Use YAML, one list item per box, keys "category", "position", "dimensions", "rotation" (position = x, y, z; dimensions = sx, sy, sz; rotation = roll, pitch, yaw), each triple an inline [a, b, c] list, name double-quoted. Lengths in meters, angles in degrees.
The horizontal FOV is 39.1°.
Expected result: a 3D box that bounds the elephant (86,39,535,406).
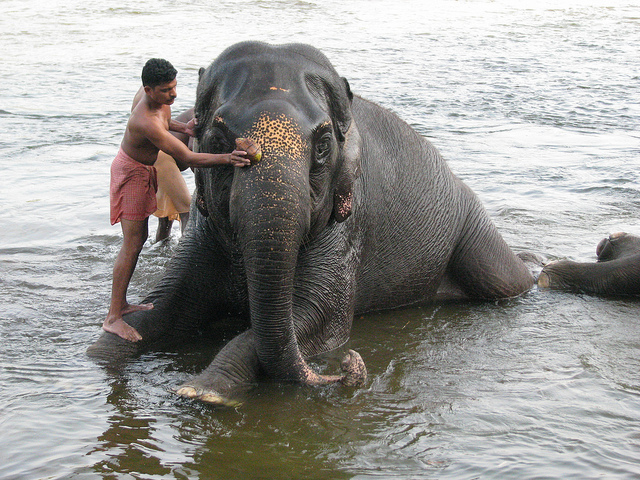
- category: "elephant"
  position: [-0.027, -0.239, 6.097]
  dimensions: [1.502, 2.181, 2.843]
  rotation: [24, 31, 34]
